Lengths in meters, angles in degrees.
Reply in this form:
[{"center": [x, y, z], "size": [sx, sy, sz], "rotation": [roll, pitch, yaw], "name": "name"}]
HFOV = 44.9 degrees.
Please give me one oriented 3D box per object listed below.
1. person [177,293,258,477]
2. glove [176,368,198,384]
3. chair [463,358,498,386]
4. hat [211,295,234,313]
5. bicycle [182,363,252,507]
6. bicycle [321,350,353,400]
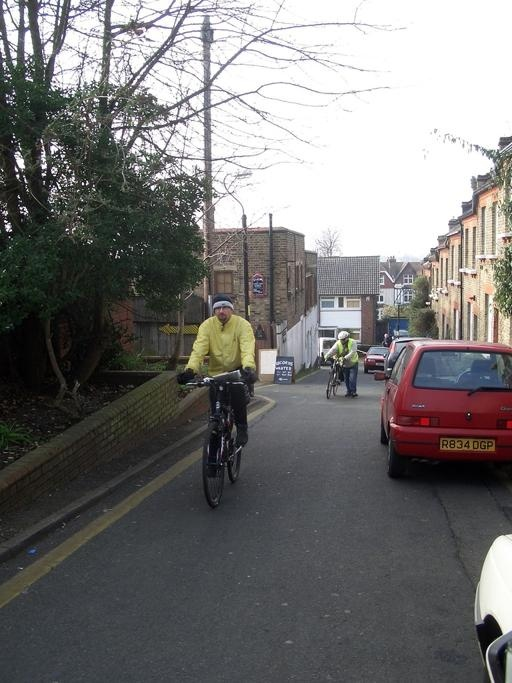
[{"center": [-0.298, 0.255, 6.300], "size": [0.884, 2.252, 1.250], "rotation": [0, -7, 8], "name": "person"}, {"center": [-0.637, 0.343, 5.743], "size": [0.157, 0.156, 0.365], "rotation": [0, 0, -6], "name": "glove"}, {"center": [2.340, 0.355, 6.424], "size": [0.239, 0.321, 0.272], "rotation": [0, -6, 5], "name": "chair"}, {"center": [-0.329, -0.370, 6.056], "size": [0.124, 0.178, 0.164], "rotation": [-3, -7, 1], "name": "hat"}, {"center": [-0.326, 0.869, 5.910], "size": [0.462, 0.940, 1.296], "rotation": [-1, -2, 5], "name": "bicycle"}, {"center": [2.410, 1.163, 18.835], "size": [0.628, 1.100, 1.507], "rotation": [-1, 0, 13], "name": "bicycle"}]
